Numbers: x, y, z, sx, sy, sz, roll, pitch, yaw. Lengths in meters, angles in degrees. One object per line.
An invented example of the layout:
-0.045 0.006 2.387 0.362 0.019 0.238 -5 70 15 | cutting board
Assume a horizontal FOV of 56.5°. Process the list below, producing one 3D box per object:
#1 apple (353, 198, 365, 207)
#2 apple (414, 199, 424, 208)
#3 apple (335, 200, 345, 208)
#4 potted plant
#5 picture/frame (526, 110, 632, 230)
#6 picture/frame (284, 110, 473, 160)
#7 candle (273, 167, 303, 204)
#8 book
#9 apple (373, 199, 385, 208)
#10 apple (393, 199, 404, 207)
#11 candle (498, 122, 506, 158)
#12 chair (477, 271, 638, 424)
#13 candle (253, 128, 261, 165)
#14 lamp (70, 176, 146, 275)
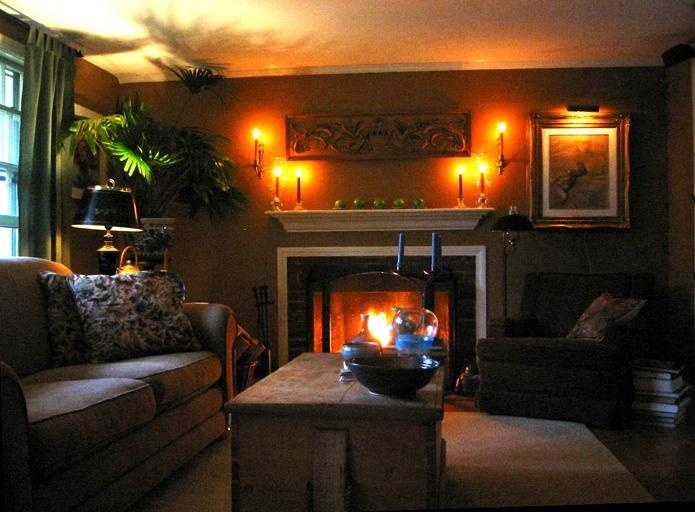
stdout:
0.086 -0.386 4.795 0.068 0.051 0.066 -13 -7 6 | apple
0.530 -0.393 4.769 0.080 0.077 0.123 1 2 5 | apple
-0.049 -0.387 4.791 0.077 0.069 0.112 1 2 -2 | apple
-1.445 -0.670 4.879 1.356 1.308 1.400 2 2 7 | potted plant
1.617 -0.605 4.458 0.903 0.998 0.113 1 4 37 | picture/frame
0.240 -0.898 4.824 1.311 0.335 0.055 1 2 7 | picture/frame
-0.446 -0.544 4.908 0.296 0.345 0.087 1 3 -2 | candle
1.724 0.756 3.738 0.320 0.413 0.374 0 4 36 | book
0.235 -0.388 4.768 0.069 0.062 0.064 1 2 -5 | apple
0.379 -0.388 4.776 0.061 0.059 0.062 -14 0 12 | apple
1.120 -0.837 4.706 0.062 0.273 0.146 1 2 15 | candle
1.361 0.521 4.122 0.771 0.849 0.992 -1 -1 33 | chair
-0.674 -0.826 4.891 0.068 0.300 0.129 1 2 -8 | candle
-1.459 -0.154 3.984 0.393 0.592 0.377 0 -5 24 | lamp
